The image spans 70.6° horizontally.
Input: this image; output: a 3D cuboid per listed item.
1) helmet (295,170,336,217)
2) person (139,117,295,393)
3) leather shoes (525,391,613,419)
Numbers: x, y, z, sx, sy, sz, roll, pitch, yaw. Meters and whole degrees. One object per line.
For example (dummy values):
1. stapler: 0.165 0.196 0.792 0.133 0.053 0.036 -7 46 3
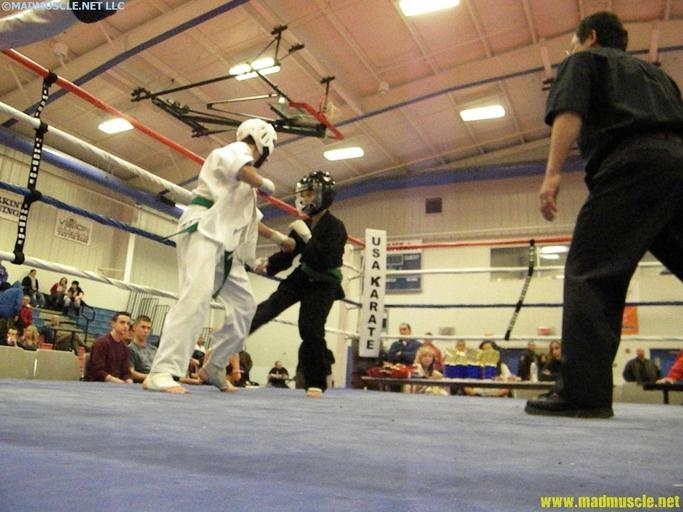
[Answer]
1. helmet: -0.198 -0.443 3.282 0.274 0.266 0.320 -2 7 44
2. person: -0.654 -0.099 2.620 0.497 1.623 0.734 11 -14 -9
3. leather shoes: 0.800 0.506 1.733 0.313 0.118 0.108 -2 -9 26
